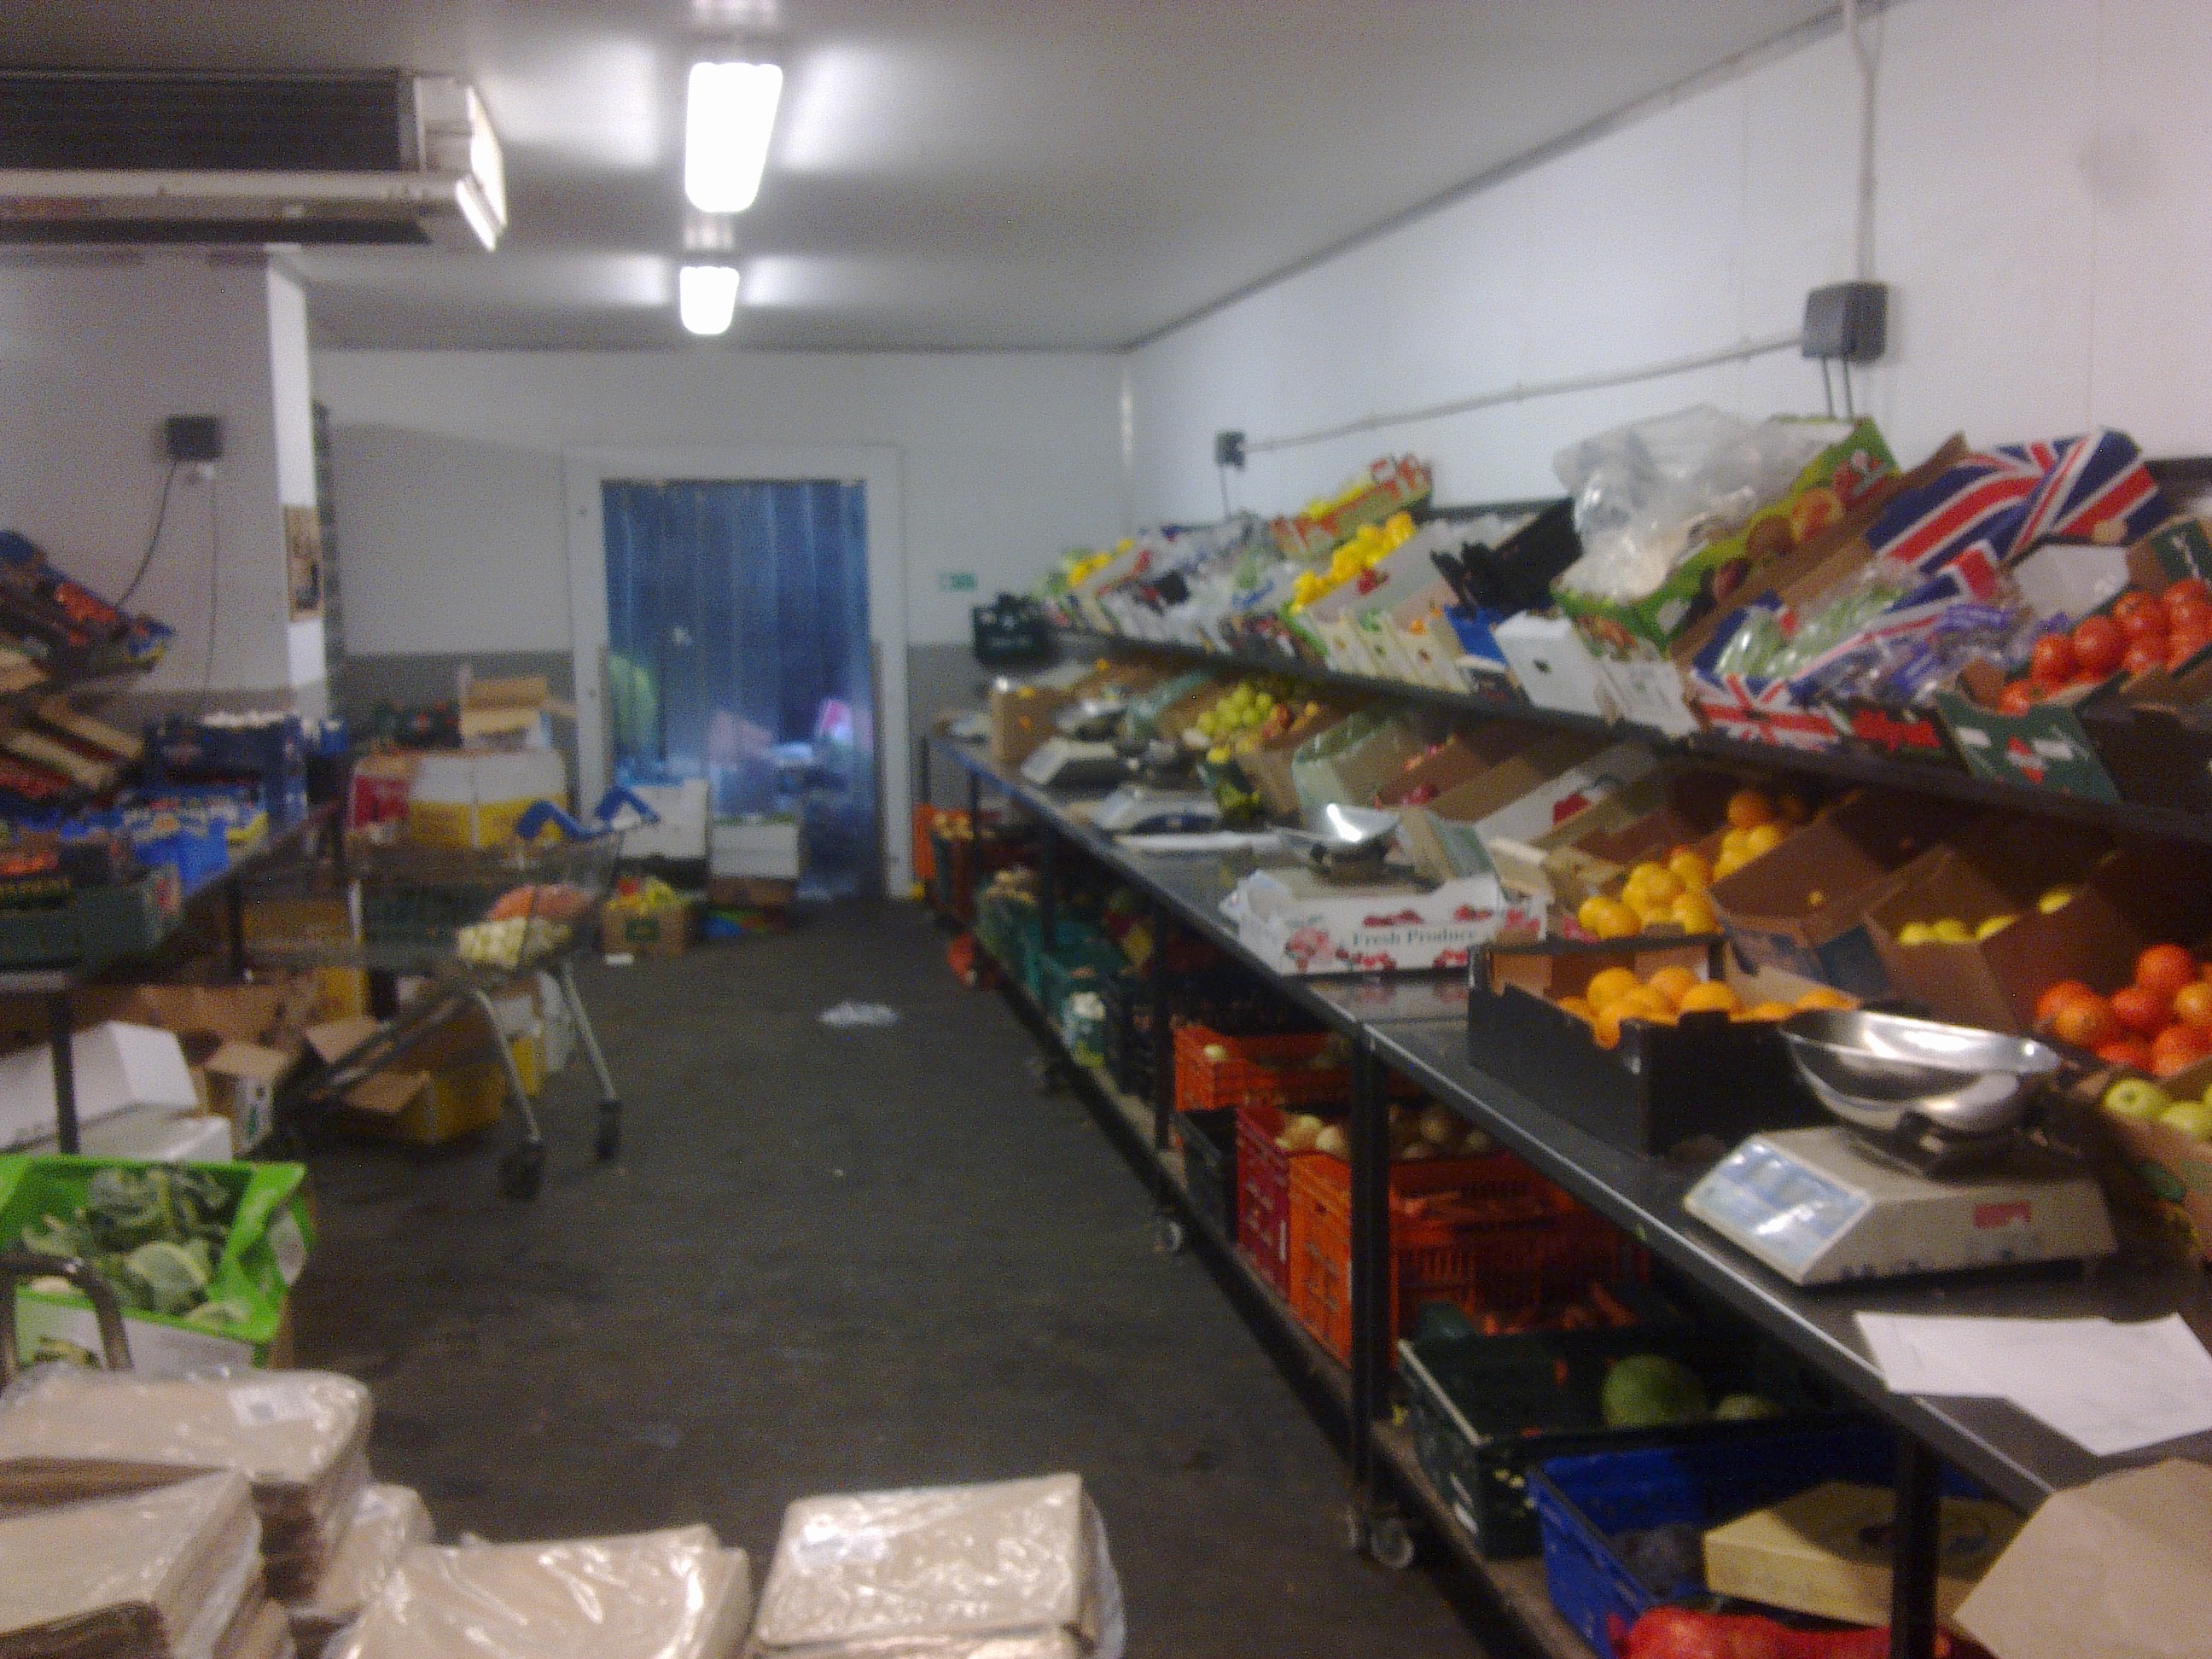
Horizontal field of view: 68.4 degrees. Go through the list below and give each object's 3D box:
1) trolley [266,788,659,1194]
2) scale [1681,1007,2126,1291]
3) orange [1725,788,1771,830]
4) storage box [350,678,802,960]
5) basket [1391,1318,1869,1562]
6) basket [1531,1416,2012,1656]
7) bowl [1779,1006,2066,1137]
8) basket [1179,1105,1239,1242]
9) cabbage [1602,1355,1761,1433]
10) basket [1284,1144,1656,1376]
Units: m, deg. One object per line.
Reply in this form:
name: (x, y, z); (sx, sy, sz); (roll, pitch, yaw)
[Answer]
trolley: (-2.024, 0.458, 4.962); (1.075, 1.059, 0.621); (3, 1, 9)
scale: (0.997, 0.411, 2.080); (0.345, 0.218, 0.353); (-2, 6, -9)
orange: (1.187, -0.034, 3.009); (0.069, 0.071, 0.082); (-13, -37, 38)
storage box: (-2.072, -0.089, 6.841); (1.894, 1.404, 1.076); (0, 1, -20)
basket: (0.794, 0.984, 2.749); (0.414, 0.142, 0.427); (1, 1, -7)
basket: (0.929, 1.030, 2.468); (0.456, 0.172, 0.361); (-6, 7, -10)
bowl: (1.068, 0.287, 2.071); (0.217, 0.095, 0.175); (1, 7, -33)
basket: (0.249, 0.824, 3.978); (0.210, 0.212, 0.305); (0, 4, -5)
cabbage: (0.962, 0.996, 2.733); (0.215, 0.119, 0.124); (12, 10, 5)
basket: (0.696, 0.814, 3.269); (0.448, 0.208, 0.452); (0, 6, -14)
